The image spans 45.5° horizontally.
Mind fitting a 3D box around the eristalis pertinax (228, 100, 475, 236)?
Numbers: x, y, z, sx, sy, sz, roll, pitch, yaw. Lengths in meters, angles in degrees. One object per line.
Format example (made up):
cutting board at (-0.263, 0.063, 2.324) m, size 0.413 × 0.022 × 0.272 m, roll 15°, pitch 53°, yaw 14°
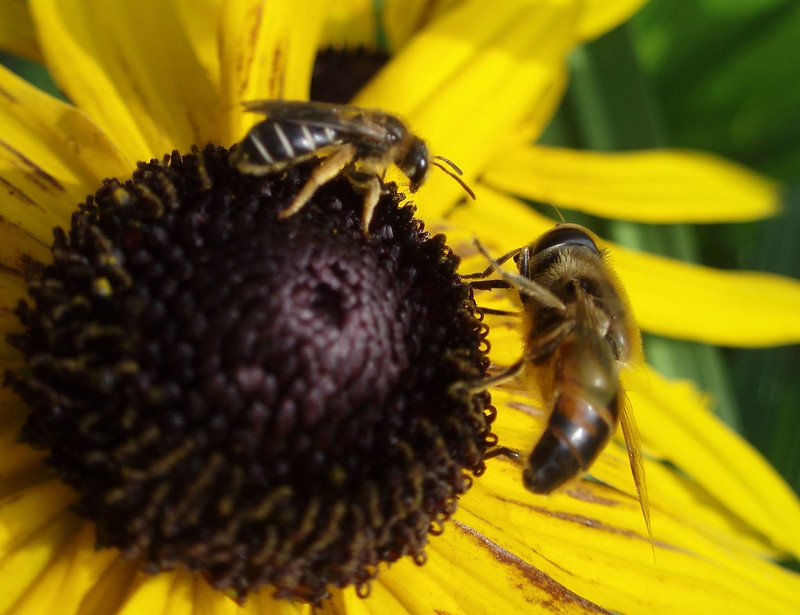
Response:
eristalis pertinax at (-0.072, -0.216, 1.330) m, size 0.240 × 0.182 × 0.105 m, roll 15°, pitch -73°, yaw -34°
